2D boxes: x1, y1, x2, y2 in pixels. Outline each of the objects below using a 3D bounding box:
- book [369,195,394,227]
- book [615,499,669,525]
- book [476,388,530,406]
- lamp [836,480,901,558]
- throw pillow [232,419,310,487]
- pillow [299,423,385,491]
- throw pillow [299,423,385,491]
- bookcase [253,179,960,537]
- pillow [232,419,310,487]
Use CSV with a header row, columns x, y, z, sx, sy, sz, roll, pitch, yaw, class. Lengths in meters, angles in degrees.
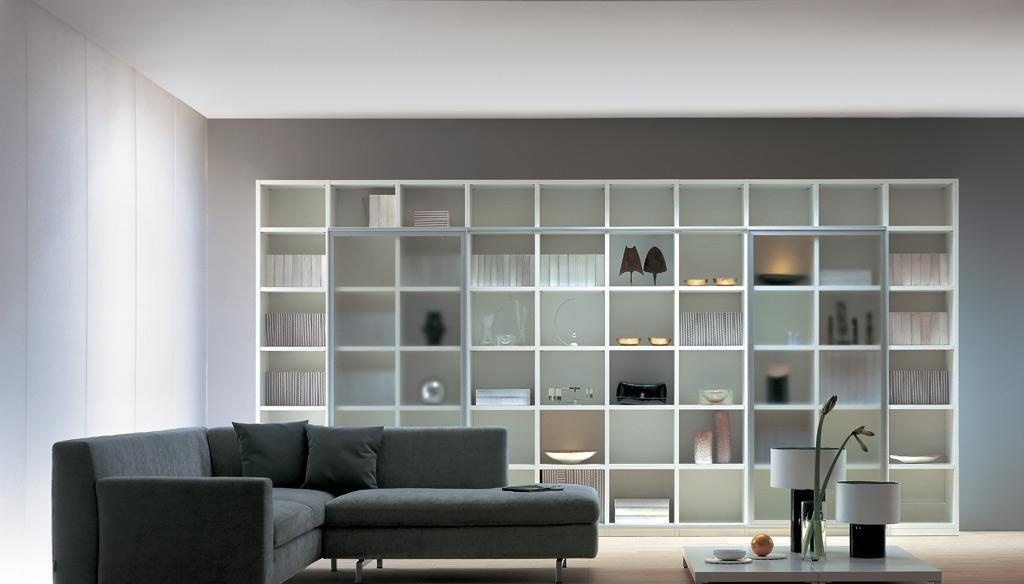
x,y,z,sx,sy,sz,roll,pitch,yaw,class
-1.323,-0.822,10.394,0.361,0.395,0.236,0,-4,-2,book
1.301,2.198,10.073,0.526,0.210,0.259,0,-3,4,book
-0.099,1.070,10.313,0.533,0.154,0.133,1,-6,-5,book
3.086,1.909,8.690,0.706,0.666,0.633,-1,-5,13,lamp
-2.141,1.453,9.017,0.631,0.534,0.206,1,-22,-17,throw pillow
-1.547,1.486,9.217,0.708,0.531,0.338,-1,-2,10,pillow
-1.540,1.488,9.215,0.683,0.530,0.330,-2,-2,10,throw pillow
0.959,0.657,10.392,7.144,3.293,0.648,1,-2,-2,bookcase
-2.141,1.453,9.017,0.631,0.534,0.206,1,-22,-17,pillow
